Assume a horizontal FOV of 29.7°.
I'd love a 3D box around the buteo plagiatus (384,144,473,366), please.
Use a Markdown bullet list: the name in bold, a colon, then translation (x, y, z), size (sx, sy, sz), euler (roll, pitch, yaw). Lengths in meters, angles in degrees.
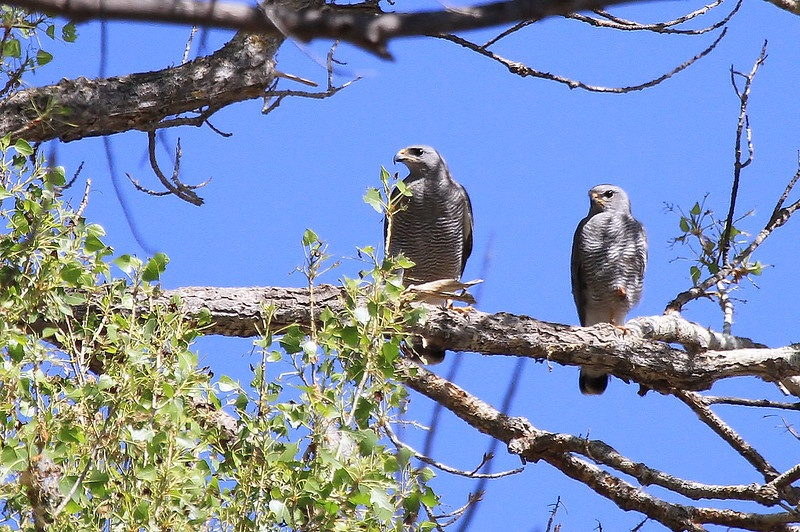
- **buteo plagiatus**: translation (0.149, -0.063, 9.041), size (0.494, 0.662, 1.281), euler (4, -89, -19)
